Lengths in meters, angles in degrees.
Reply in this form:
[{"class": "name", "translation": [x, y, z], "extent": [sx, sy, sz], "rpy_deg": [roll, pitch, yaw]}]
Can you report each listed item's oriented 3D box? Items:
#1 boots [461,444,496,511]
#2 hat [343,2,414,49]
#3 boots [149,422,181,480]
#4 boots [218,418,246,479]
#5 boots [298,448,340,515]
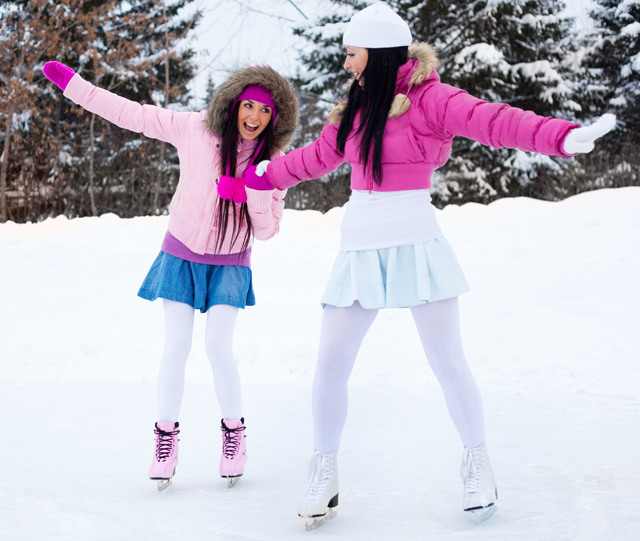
[{"class": "boots", "translation": [0.692, 0.912, 3.417], "extent": [0.102, 0.151, 0.322], "rpy_deg": [-9, 10, 5]}, {"class": "hat", "translation": [0.260, -1.071, 3.442], "extent": [0.210, 0.138, 0.233], "rpy_deg": [5, 28, 9]}, {"class": "boots", "translation": [-0.730, 0.870, 3.764], "extent": [0.103, 0.143, 0.322], "rpy_deg": [-2, 40, -1]}, {"class": "boots", "translation": [-0.406, 0.852, 3.832], "extent": [0.101, 0.155, 0.312], "rpy_deg": [-3, 40, 1]}, {"class": "boots", "translation": [0.005, 0.955, 3.430], "extent": [0.083, 0.206, 0.271], "rpy_deg": [-5, -3, 32]}]
